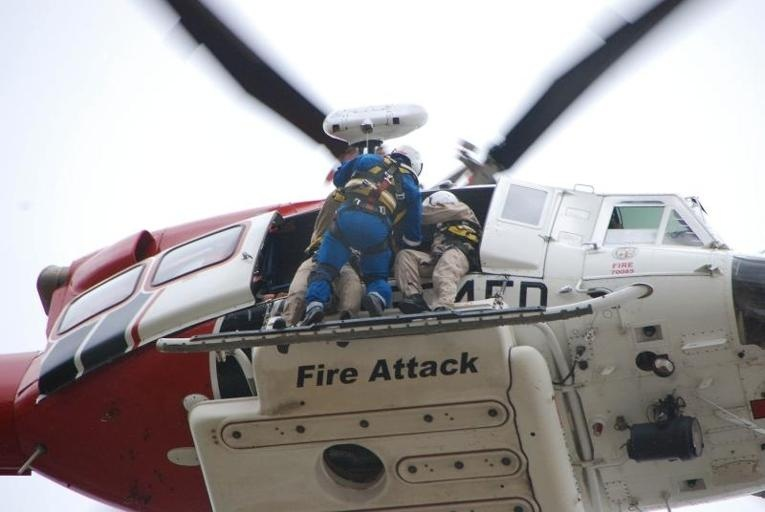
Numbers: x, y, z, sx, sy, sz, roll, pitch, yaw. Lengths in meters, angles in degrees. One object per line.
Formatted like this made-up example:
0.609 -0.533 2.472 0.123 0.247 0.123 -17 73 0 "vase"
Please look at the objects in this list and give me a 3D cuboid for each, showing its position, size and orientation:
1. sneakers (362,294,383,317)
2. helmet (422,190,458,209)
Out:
-0.097 0.558 9.065 0.079 0.191 0.180 -20 11 10 "sneakers"
0.751 -0.744 10.199 0.338 0.191 0.240 8 6 14 "helmet"
